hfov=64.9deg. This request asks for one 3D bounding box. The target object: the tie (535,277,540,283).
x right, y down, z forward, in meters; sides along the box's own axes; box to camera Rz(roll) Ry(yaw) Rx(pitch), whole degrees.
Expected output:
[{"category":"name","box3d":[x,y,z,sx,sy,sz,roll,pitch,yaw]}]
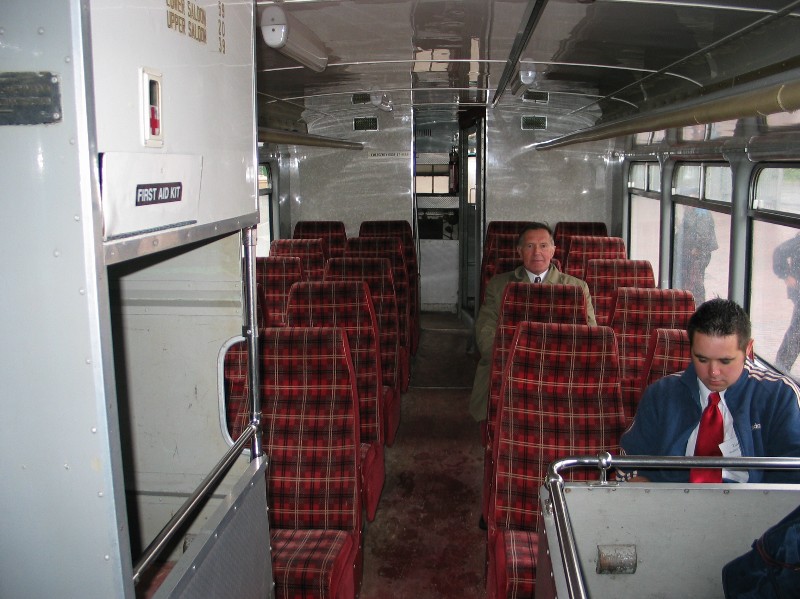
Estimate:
[{"category":"tie","box3d":[1.280,-0.185,5.877,0.042,0.070,0.038,6,-35,-5]}]
